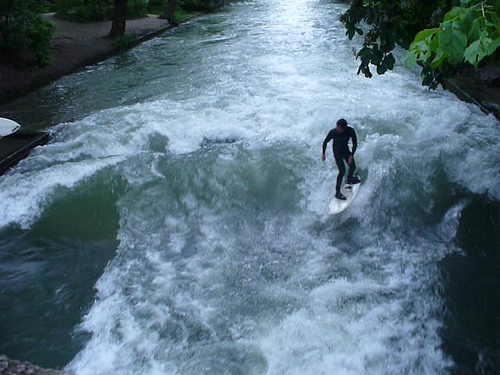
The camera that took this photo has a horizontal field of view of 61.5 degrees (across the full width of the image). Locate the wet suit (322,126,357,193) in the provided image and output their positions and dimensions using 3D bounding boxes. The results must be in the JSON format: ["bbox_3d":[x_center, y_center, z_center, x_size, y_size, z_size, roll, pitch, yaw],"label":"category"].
[{"bbox_3d":[2.476,-0.808,11.327,0.930,1.636,1.092,-21,51,-18],"label":"wet suit"}]

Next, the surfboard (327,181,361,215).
[{"bbox_3d":[2.518,0.268,11.210,0.414,0.270,1.561,22,57,26],"label":"surfboard"}]
